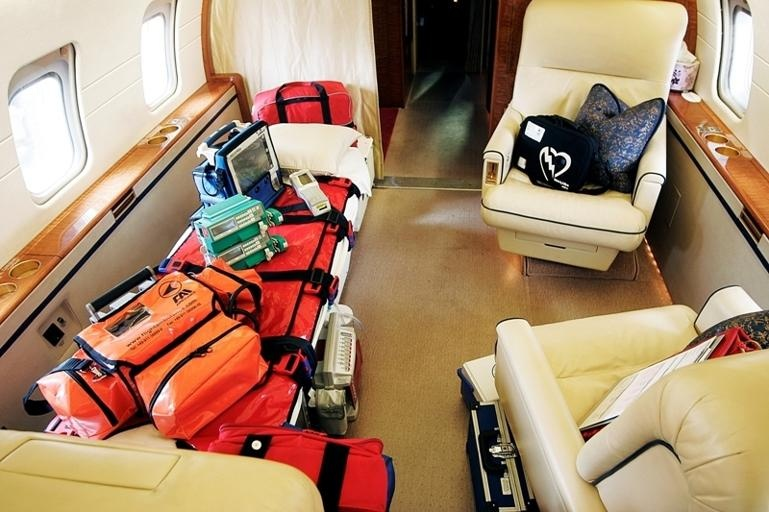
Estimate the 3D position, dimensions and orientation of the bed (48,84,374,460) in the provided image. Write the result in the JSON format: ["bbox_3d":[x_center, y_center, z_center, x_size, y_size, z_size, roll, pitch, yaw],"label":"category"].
[{"bbox_3d":[-0.813,0.181,3.211,1.448,0.911,2.411,-2,38,5],"label":"bed"}]

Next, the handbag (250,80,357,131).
[{"bbox_3d":[-0.598,-1.161,4.170,0.694,0.481,0.381,0,62,-1],"label":"handbag"}]

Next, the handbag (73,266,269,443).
[{"bbox_3d":[-0.949,0.433,2.551,0.817,0.301,0.824,39,54,15],"label":"handbag"}]

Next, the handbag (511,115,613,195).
[{"bbox_3d":[1.232,-0.684,3.663,0.480,0.373,0.160,26,46,34],"label":"handbag"}]

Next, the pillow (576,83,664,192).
[{"bbox_3d":[1.578,-0.812,3.707,0.526,0.564,0.521,12,37,16],"label":"pillow"}]
